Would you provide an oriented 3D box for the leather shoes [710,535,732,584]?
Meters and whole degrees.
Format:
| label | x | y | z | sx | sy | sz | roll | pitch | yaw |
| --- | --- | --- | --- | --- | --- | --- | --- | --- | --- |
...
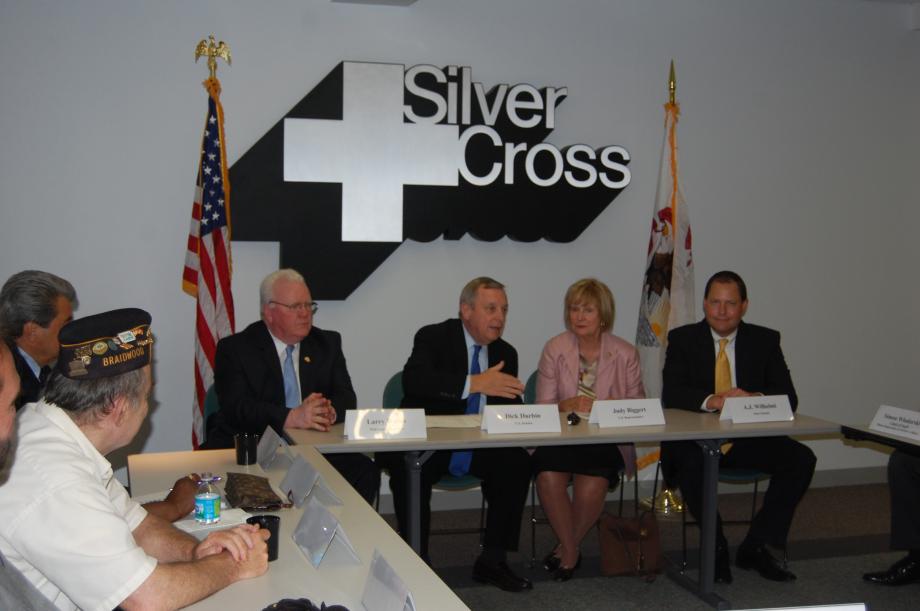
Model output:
| label | x | y | z | sx | sy | sz | roll | pitch | yaw |
| --- | --- | --- | --- | --- | --- | --- | --- | --- | --- |
| leather shoes | 1.594 | 1.574 | 4.615 | 0.109 | 0.266 | 0.355 | -6 | 6 | 21 |

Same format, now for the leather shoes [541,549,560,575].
| label | x | y | z | sx | sy | sz | roll | pitch | yaw |
| --- | --- | --- | --- | --- | --- | --- | --- | --- | --- |
| leather shoes | 0.577 | 1.614 | 4.734 | 0.062 | 0.147 | 0.037 | -9 | -19 | 36 |

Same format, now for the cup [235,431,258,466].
| label | x | y | z | sx | sy | sz | roll | pitch | yaw |
| --- | --- | --- | --- | --- | --- | --- | --- | --- | --- |
| cup | -1.038 | 0.710 | 3.759 | 0.117 | 0.148 | 0.126 | 1 | -5 | 0 |

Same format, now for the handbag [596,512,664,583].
| label | x | y | z | sx | sy | sz | roll | pitch | yaw |
| --- | --- | --- | --- | --- | --- | --- | --- | --- | --- |
| handbag | 1.022 | 1.441 | 4.588 | 0.338 | 0.364 | 0.180 | 0 | -8 | -2 |

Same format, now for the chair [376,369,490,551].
| label | x | y | z | sx | sy | sz | roll | pitch | yaw |
| --- | --- | --- | --- | --- | --- | --- | --- | --- | --- |
| chair | -0.131 | 1.015 | 4.864 | 0.679 | 1.226 | 0.793 | -5 | 5 | -20 |

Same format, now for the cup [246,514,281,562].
| label | x | y | z | sx | sy | sz | roll | pitch | yaw |
| --- | --- | --- | --- | --- | --- | --- | --- | --- | --- |
| cup | -0.711 | 0.866 | 2.817 | 0.122 | 0.159 | 0.155 | -1 | -9 | 1 |

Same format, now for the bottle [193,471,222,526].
| label | x | y | z | sx | sy | sz | roll | pitch | yaw |
| --- | --- | --- | --- | --- | --- | --- | --- | --- | --- |
| bottle | -1.032 | 0.792 | 3.101 | 0.106 | 0.201 | 0.111 | -2 | -3 | 0 |

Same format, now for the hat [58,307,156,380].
| label | x | y | z | sx | sy | sz | roll | pitch | yaw |
| --- | --- | --- | --- | --- | --- | --- | --- | --- | --- |
| hat | -1.330 | 0.139 | 2.828 | 0.271 | 0.192 | 0.372 | 6 | 11 | 33 |

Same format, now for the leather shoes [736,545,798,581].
| label | x | y | z | sx | sy | sz | roll | pitch | yaw |
| --- | --- | --- | --- | --- | --- | --- | --- | --- | --- |
| leather shoes | 1.869 | 1.585 | 4.748 | 0.148 | 0.210 | 0.446 | -4 | 3 | -43 |
